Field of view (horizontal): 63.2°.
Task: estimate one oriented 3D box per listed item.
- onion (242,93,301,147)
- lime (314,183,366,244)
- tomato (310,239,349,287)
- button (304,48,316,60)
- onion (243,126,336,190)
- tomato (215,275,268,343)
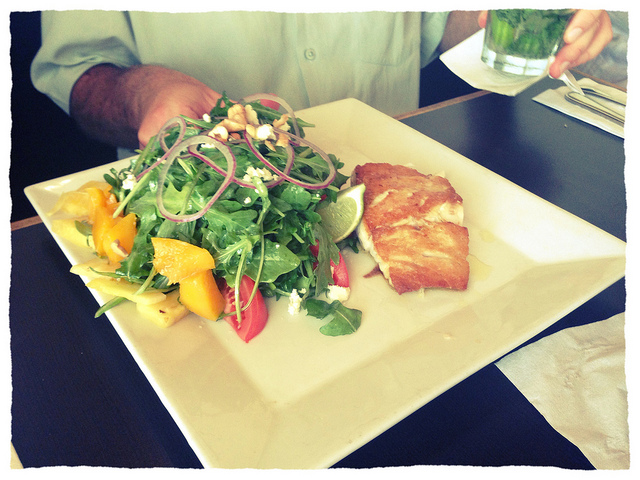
[{"bbox_3d":[-0.281,-0.740,2.999,0.374,0.327,0.320,0,25,-7],"label":"onion"},{"bbox_3d":[0.143,-0.159,2.956,0.270,0.243,0.183,-24,56,-18],"label":"lime"},{"bbox_3d":[0.076,0.108,2.908,0.207,0.230,0.283,-2,22,-9],"label":"tomato"},{"bbox_3d":[-0.094,-1.760,4.924,0.093,0.077,0.096,16,54,11],"label":"button"},{"bbox_3d":[-0.108,-0.436,2.837,0.373,0.346,0.523,-16,26,-39],"label":"onion"},{"bbox_3d":[-0.401,0.359,2.633,0.292,0.201,0.424,-6,25,-16],"label":"tomato"}]
